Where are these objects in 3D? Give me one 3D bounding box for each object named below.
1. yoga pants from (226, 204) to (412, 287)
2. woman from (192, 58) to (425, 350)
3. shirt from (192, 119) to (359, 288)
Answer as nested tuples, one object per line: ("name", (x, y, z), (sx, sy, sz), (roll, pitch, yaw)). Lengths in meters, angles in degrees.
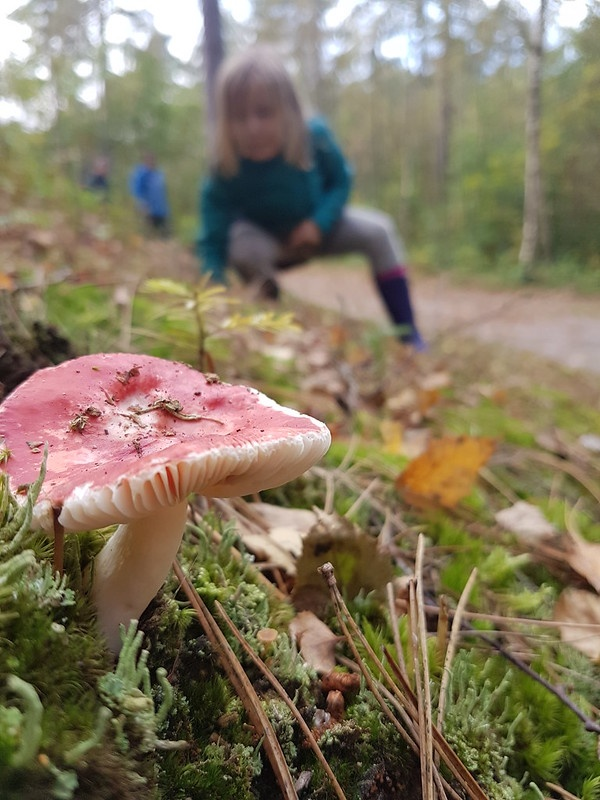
("yoga pants", (0.030, -0.471, 2.311), (0.556, 0.176, 0.496), (-8, -11, 6))
("woman", (0.030, -0.565, 2.464), (0.780, 0.905, 0.531), (0, 8, 8))
("shirt", (-0.076, -0.607, 2.217), (0.369, 0.414, 0.156), (-14, 43, 7))
